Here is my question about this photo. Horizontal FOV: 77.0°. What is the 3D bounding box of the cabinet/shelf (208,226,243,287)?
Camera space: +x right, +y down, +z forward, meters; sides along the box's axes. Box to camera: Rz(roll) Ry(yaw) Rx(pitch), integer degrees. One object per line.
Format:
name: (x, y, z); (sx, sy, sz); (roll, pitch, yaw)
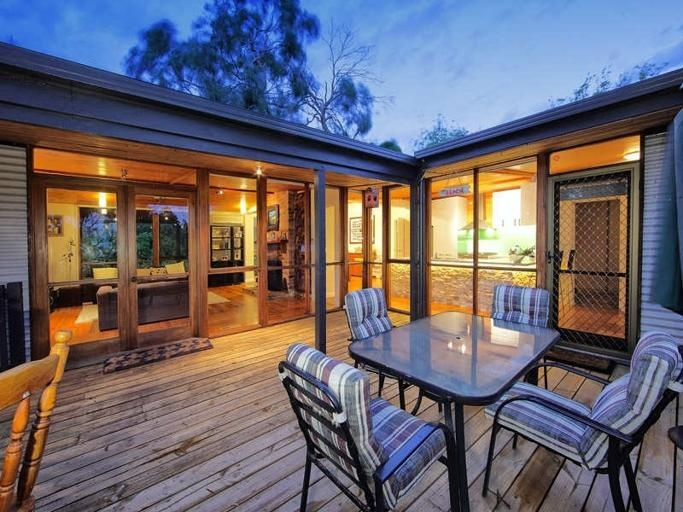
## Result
cabinet/shelf: (-1.845, -0.014, 6.929); (0.579, 0.994, 0.663); (-4, 3, -18)

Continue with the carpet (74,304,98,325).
carpet: (-3.385, 0.783, 5.730); (0.074, 0.348, 0.213); (-14, 0, 37)

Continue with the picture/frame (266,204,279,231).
picture/frame: (-1.246, -0.715, 7.998); (0.220, 0.498, 0.074); (-3, 3, -10)

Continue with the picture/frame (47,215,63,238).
picture/frame: (-3.671, -0.376, 5.502); (0.022, 0.326, 0.274); (-4, -4, 35)
